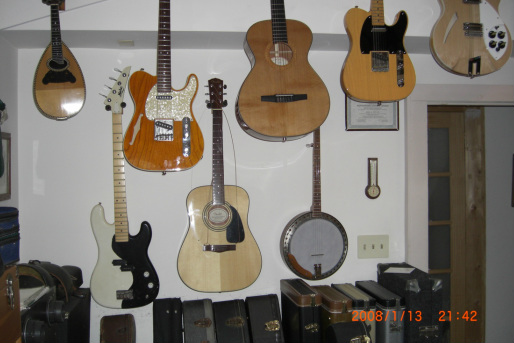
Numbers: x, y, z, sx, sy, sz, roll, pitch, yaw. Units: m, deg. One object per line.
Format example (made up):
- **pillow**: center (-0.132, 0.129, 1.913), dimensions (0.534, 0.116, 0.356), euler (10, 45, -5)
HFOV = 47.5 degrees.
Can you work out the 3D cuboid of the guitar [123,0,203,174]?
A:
- **guitar**: center (-0.711, -0.659, 4.533), dimensions (0.607, 1.313, 0.215), euler (2, -5, -16)
